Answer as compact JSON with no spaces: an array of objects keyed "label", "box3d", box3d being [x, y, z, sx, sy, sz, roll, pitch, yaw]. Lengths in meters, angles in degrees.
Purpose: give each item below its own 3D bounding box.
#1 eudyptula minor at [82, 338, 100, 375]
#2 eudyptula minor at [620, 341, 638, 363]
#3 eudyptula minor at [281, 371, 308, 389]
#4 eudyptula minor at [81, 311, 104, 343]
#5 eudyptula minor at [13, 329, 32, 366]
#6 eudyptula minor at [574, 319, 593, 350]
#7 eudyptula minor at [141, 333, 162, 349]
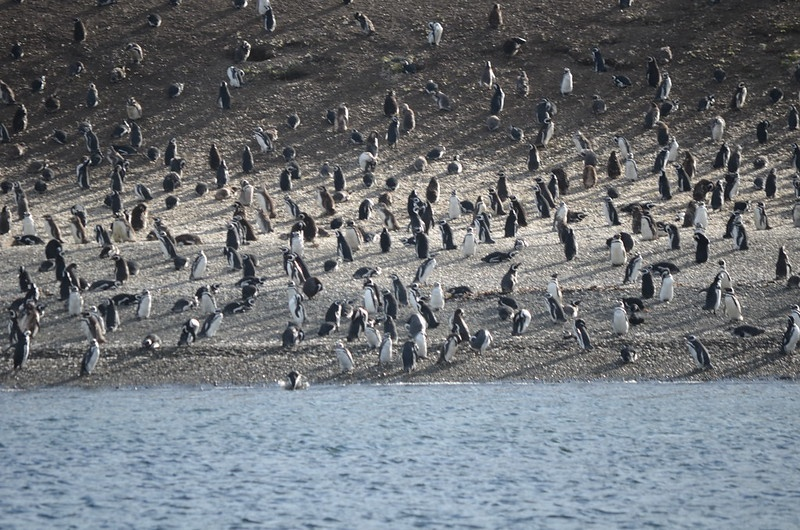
[{"label":"eudyptula minor","box3d":[-9.458,2.890,68.640,0.621,1.119,0.522,-5,-7,-6]},{"label":"eudyptula minor","box3d":[7.082,2.840,68.966,0.618,0.369,0.235,-12,-15,-43]},{"label":"eudyptula minor","box3d":[-3.145,3.575,68.280,0.652,0.620,0.282,0,-45,-5]},{"label":"eudyptula minor","box3d":[-9.362,1.996,69.201,0.674,0.953,0.361,-3,-8,-19]},{"label":"eudyptula minor","box3d":[-11.565,2.671,68.651,0.536,1.209,0.397,-4,-8,-8]},{"label":"eudyptula minor","box3d":[5.661,2.231,69.175,0.425,1.045,0.499,-8,-6,-6]},{"label":"eudyptula minor","box3d":[-7.618,2.424,69.140,0.629,0.492,0.270,-4,-7,-3]}]
